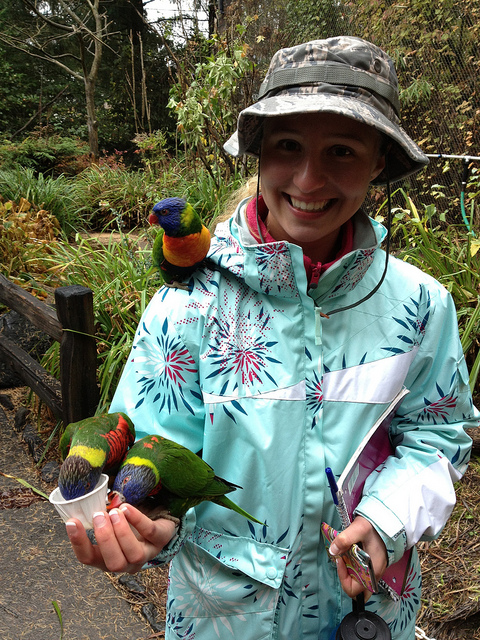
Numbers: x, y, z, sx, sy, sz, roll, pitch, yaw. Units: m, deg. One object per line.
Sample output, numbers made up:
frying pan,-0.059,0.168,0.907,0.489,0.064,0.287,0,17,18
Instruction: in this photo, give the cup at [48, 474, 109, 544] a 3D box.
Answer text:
cup,-0.246,0.282,0.830,0.077,0.055,0.078,-2,8,0

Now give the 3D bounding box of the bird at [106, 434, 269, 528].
bird,-0.091,0.303,0.981,0.115,0.161,0.377,4,-5,41

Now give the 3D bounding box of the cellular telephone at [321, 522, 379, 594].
cellular telephone,0.202,0.428,0.949,0.019,0.094,0.164,-25,-3,-16

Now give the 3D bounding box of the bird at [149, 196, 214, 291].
bird,-0.218,-0.284,1.769,0.198,0.319,0.316,-13,31,-23

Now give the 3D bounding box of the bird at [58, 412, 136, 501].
bird,-0.235,0.214,0.893,0.068,0.064,0.167,-14,37,20
